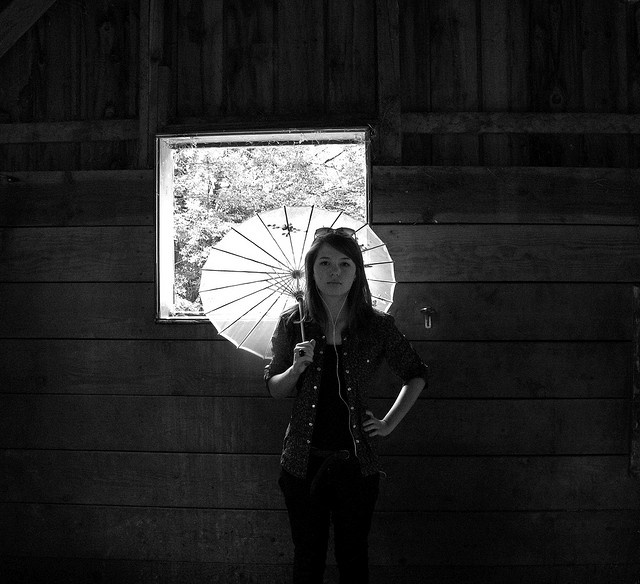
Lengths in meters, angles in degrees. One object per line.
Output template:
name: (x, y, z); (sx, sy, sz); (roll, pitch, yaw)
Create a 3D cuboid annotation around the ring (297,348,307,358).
ring: (-0.064, 0.219, 3.356); (0.012, 0.023, 0.040); (6, 18, -38)
